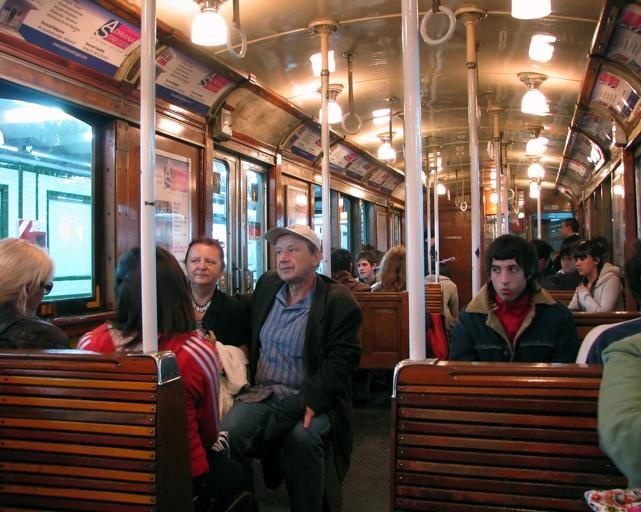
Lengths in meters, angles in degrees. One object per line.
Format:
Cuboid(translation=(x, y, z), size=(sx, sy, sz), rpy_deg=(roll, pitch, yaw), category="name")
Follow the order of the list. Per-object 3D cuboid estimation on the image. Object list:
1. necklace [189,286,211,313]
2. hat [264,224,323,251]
Cuboid(translation=(-0.838, 0.328, 3.605), size=(0.174, 0.235, 0.121), rpy_deg=(1, -10, 0), category="necklace")
Cuboid(translation=(-0.178, -0.157, 3.628), size=(0.202, 0.135, 0.291), rpy_deg=(-8, -23, 45), category="hat")
